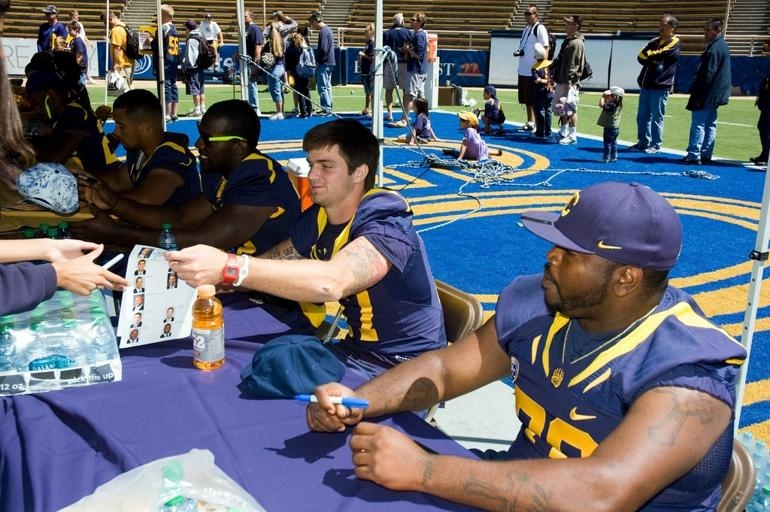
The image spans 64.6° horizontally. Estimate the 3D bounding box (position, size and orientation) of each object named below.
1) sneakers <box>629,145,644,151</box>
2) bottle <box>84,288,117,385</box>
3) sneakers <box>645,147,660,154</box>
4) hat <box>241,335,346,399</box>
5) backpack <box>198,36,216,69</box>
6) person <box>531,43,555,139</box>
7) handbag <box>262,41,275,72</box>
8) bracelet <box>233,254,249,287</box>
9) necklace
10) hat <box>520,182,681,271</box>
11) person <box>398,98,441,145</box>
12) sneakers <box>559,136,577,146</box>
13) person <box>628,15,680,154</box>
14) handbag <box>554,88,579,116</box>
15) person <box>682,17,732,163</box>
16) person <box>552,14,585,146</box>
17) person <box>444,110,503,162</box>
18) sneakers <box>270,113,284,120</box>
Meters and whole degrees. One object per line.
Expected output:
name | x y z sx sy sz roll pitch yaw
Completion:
sneakers | 5.024 -2.177 12.128 0.125 0.120 0.280 -10 15 -38
bottle | -1.241 0.371 2.701 0.088 0.333 0.256 -12 -8 -1
sneakers | 5.309 -2.085 11.942 0.324 0.136 0.117 1 2 -26
hat | -0.384 0.461 2.610 0.368 0.129 0.247 -10 29 -26
backpack | -4.189 -4.779 14.291 0.271 0.684 0.549 -1 17 2
person | 3.381 -3.501 12.988 0.456 1.958 1.299 3 17 14
handbag | -2.828 -4.828 14.653 0.333 0.675 0.701 -4 17 -7
bracelet | -0.622 0.056 2.664 0.079 0.119 0.122 15 -4 -15
necklace | 0.827 0.347 2.422 0.398 0.239 0.369 -34 -28 4
hat | 0.840 -0.158 2.350 0.626 0.268 0.426 3 25 11
person | 0.735 -2.829 12.621 0.989 0.918 0.668 -6 17 -27
sneakers | 3.916 -2.471 12.951 0.418 0.176 0.154 0 11 -2
person | 5.050 -3.160 11.345 0.660 2.453 1.156 5 18 20
handbag | 3.642 -3.169 12.305 0.354 0.579 0.490 -19 47 -8
person | 5.628 -2.825 10.539 0.632 2.405 1.181 7 19 25
person | 3.703 -3.525 12.271 0.602 2.509 1.257 3 18 15
person | 1.776 -2.198 11.066 0.759 0.847 1.164 -14 15 -35
sneakers | -2.780 -3.568 15.487 0.459 0.187 0.171 7 15 40
